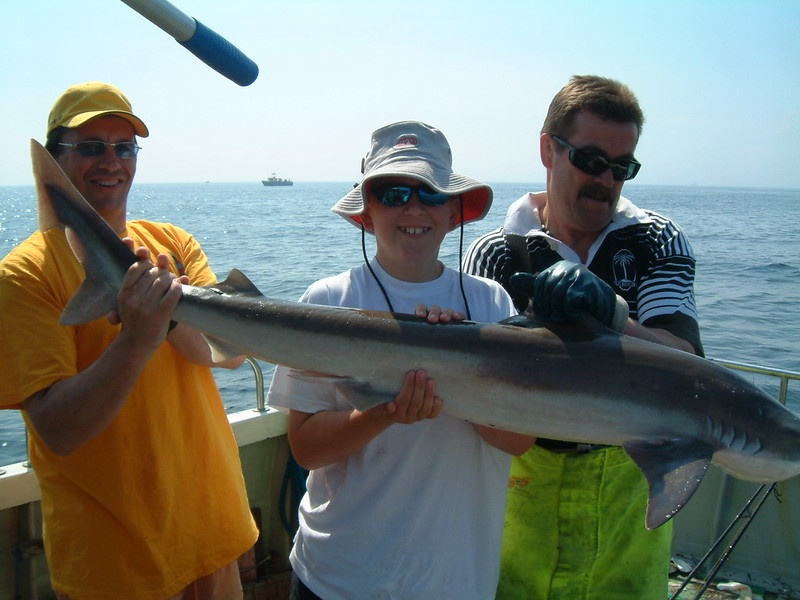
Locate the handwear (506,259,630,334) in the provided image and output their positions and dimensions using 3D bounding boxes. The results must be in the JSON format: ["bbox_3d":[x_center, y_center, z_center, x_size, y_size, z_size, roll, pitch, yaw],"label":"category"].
[{"bbox_3d":[0.881,-0.028,3.804,0.543,0.361,0.199,3,8,12],"label":"handwear"}]

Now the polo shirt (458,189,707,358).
[{"bbox_3d":[1.398,-0.216,5.139,1.169,0.963,1.356,-1,0,7],"label":"polo shirt"}]
